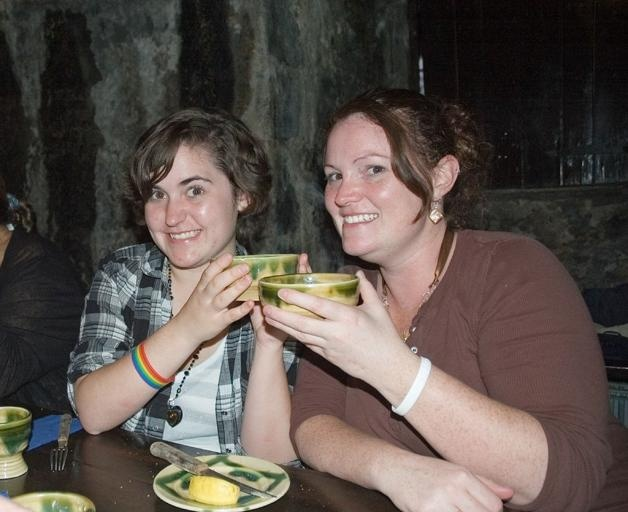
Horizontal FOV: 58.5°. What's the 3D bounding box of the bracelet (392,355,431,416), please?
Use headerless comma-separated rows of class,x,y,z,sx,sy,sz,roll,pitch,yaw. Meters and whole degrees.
bracelet,0.251,0.334,1.402,0.029,0.127,0.117,26,2,-4

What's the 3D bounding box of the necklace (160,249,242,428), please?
necklace,-0.465,0.327,2.030,0.165,0.548,0.056,12,-2,-28

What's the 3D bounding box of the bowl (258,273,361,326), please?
bowl,-0.014,0.108,1.490,0.264,0.106,0.270,-2,1,0

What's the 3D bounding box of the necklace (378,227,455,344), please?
necklace,0.343,0.095,1.820,0.245,0.397,0.076,12,-2,39

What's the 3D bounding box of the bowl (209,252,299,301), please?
bowl,-0.122,0.058,1.708,0.254,0.124,0.252,-1,-2,0

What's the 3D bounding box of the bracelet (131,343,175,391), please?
bracelet,-0.510,0.363,1.799,0.056,0.135,0.133,-39,11,16
